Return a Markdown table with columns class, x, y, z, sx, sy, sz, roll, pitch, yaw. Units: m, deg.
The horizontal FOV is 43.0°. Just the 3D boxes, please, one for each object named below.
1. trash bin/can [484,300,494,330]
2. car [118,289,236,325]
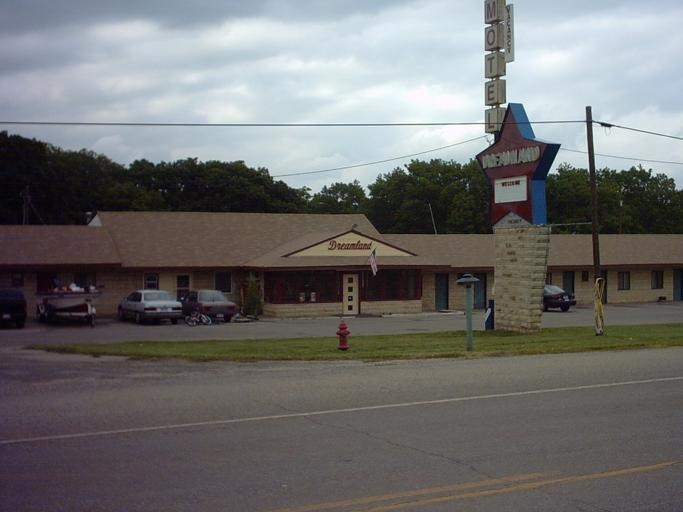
| class | x | y | z | sx | sy | sz | roll | pitch | yaw |
| --- | --- | --- | --- | --- | --- | --- | --- | --- | --- |
| trash bin/can | 6.013 | 2.461 | 35.185 | 0.349 | 1.211 | 0.714 | -1 | -2 | 7 |
| car | -7.631 | 2.411 | 40.299 | 4.976 | 1.552 | 3.288 | 0 | -3 | -18 |
